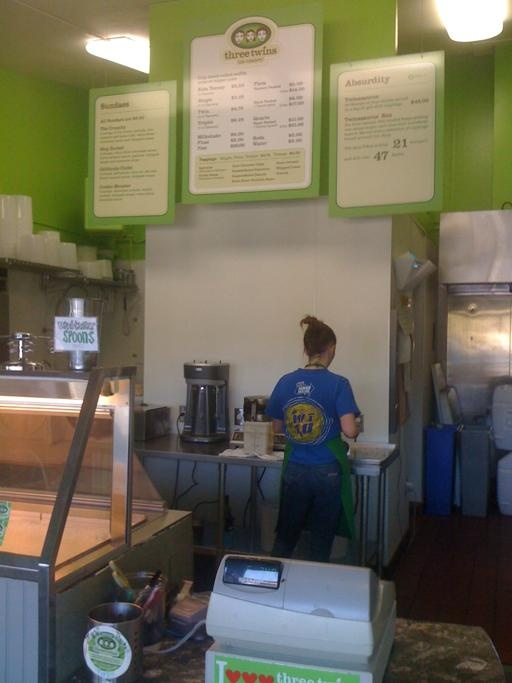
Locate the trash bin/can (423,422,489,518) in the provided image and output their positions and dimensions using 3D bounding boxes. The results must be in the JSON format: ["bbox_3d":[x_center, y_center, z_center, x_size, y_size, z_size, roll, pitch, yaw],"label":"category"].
[{"bbox_3d":[1.699,1.078,5.379,0.599,0.978,0.658,0,1,16],"label":"trash bin/can"}]

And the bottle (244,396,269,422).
[{"bbox_3d":[-0.003,0.386,3.517,0.094,0.117,0.150,2,4,14],"label":"bottle"}]

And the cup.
[{"bbox_3d":[-0.224,0.547,1.269,0.097,0.147,0.134,-1,-6,0],"label":"cup"}]

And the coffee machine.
[{"bbox_3d":[-0.301,0.349,3.669,0.259,0.481,0.335,3,4,22],"label":"coffee machine"}]

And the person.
[{"bbox_3d":[0.254,0.434,2.768,0.426,1.103,0.270,-1,2,12],"label":"person"}]
